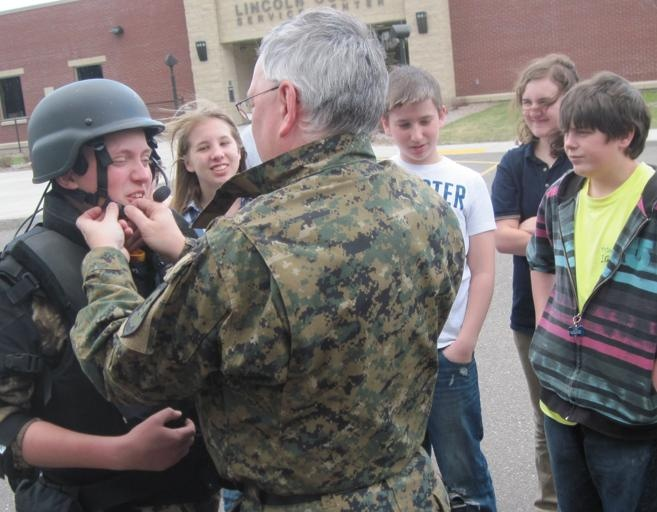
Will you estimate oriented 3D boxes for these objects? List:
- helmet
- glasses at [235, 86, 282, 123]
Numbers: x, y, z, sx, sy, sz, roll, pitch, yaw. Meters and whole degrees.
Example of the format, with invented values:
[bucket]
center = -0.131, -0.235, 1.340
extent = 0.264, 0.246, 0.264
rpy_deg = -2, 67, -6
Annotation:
[helmet]
center = -1.026, -0.520, 3.295
extent = 0.488, 0.366, 0.449
rpy_deg = -1, 6, 15
[glasses]
center = -0.272, -0.566, 2.839
extent = 0.142, 0.041, 0.144
rpy_deg = -29, 8, 2
